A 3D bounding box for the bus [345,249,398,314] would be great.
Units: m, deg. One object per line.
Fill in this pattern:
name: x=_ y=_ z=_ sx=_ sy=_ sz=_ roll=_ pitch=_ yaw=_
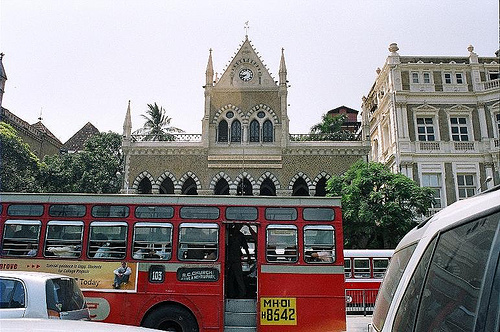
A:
bus: x=5.381 y=5.329 z=22.125 sx=1.895 sy=2.399 sz=5.064 roll=-19 pitch=-23 yaw=10
